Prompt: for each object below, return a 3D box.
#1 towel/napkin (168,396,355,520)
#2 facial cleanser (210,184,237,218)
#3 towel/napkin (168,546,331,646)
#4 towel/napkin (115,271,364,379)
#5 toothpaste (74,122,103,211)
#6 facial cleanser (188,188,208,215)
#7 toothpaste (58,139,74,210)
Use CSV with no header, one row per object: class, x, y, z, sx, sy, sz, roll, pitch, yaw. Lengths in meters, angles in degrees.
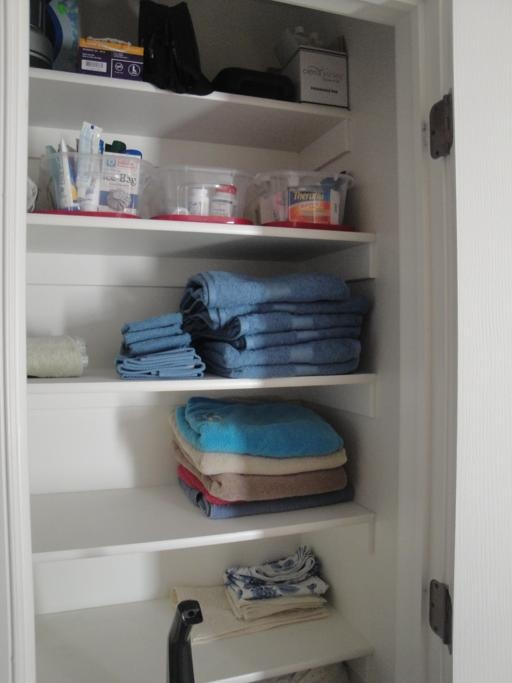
towel/napkin,0.008,0.227,1.278,0.331,0.195,0.250,-3,10,-21
facial cleanser,-0.062,-0.263,1.134,0.046,0.058,0.026,0,10,-4
towel/napkin,0.013,0.566,1.362,0.272,0.092,0.269,-3,6,-27
towel/napkin,-0.057,-0.023,1.383,0.569,0.193,0.501,0,0,-23
toothpaste,-0.286,-0.299,1.036,0.039,0.129,0.069,-2,11,-29
facial cleanser,-0.104,-0.259,1.124,0.046,0.070,0.046,1,0,-10
toothpaste,-0.319,-0.271,1.029,0.024,0.095,0.016,-3,10,-17
